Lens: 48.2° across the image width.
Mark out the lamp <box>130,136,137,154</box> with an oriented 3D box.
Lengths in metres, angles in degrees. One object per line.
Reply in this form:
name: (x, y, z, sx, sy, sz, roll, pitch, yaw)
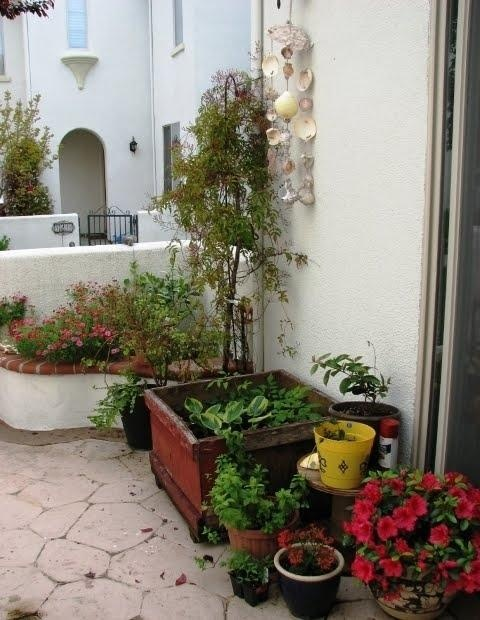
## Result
lamp: (-2.159, -3.324, 10.856, 0.175, 0.311, 0.161, -3, 6, -12)
